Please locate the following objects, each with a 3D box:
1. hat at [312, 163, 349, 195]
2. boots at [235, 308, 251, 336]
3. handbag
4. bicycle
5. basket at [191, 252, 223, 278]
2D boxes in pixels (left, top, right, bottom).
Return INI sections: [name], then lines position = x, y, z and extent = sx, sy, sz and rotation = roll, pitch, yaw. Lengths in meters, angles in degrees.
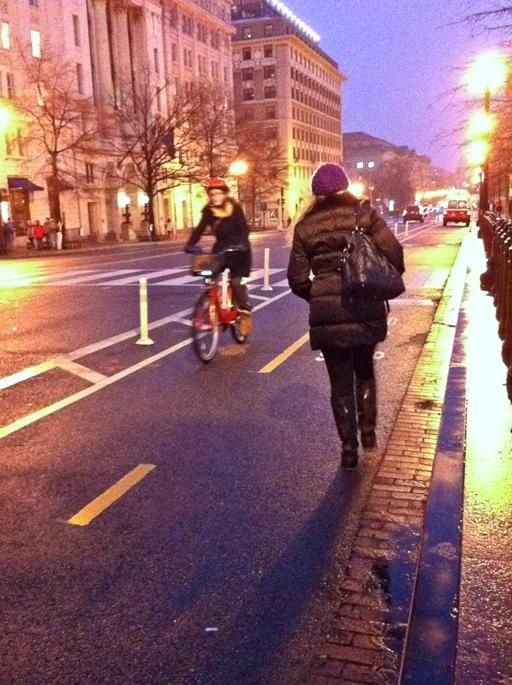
[hat]
position = 0.482, -1.073, 3.562
extent = 0.241, 0.244, 0.238
rotation = -2, 3, 8
[boots]
position = -0.217, -0.320, 8.409
extent = 0.170, 0.169, 0.549
rotation = 23, -29, 23
[handbag]
position = 0.684, -0.530, 3.597
extent = 0.310, 0.914, 0.578
rotation = -2, -22, 0
[bicycle]
position = -0.593, -0.485, 7.706
extent = 0.366, 1.481, 1.583
rotation = -1, 3, 14
[basket]
position = -0.690, -1.157, 7.575
extent = 0.448, 0.355, 0.264
rotation = 2, -20, -8
